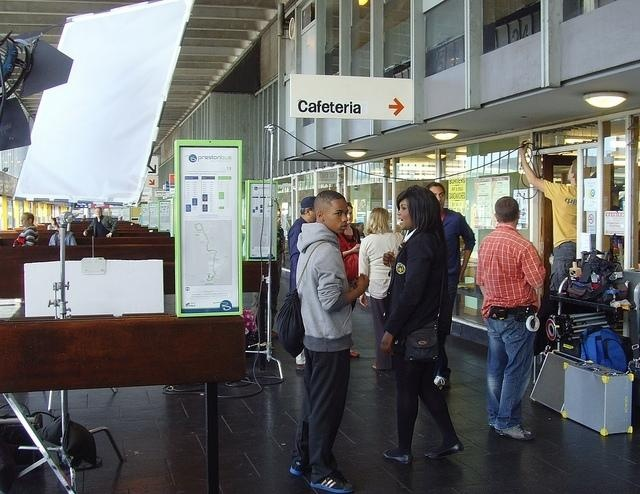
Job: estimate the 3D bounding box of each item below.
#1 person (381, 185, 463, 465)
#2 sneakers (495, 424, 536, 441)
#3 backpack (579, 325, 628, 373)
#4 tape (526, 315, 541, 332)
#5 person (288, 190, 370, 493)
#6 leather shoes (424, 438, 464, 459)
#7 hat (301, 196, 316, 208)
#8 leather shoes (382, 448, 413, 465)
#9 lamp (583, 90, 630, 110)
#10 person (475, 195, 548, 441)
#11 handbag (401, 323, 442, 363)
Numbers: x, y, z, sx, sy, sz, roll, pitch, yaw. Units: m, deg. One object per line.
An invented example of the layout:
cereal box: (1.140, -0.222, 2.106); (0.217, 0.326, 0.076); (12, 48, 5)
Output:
person: (0.722, 0.588, 4.001); (0.514, 2.041, 0.438); (1, 3, 15)
sneakers: (1.611, 1.505, 4.600); (0.260, 0.141, 0.104); (2, 0, 20)
backpack: (2.784, 1.000, 5.507); (0.557, 0.571, 0.332); (5, -2, -30)
tape: (1.701, 0.609, 4.466); (0.041, 0.128, 0.108); (3, -21, -21)
person: (0.029, 0.625, 3.788); (0.484, 2.021, 0.348); (3, 4, 45)
leather shoes: (0.930, 1.525, 4.222); (0.336, 0.132, 0.118); (-21, 9, 33)
hat: (-0.136, -0.479, 5.966); (0.123, 0.074, 0.183); (-11, 14, 15)
leather shoes: (0.575, 1.558, 4.149); (0.194, 0.063, 0.084); (2, 2, 43)
lamp: (2.820, -1.463, 5.496); (0.343, 0.111, 0.319); (-2, 4, -27)
person: (1.568, 0.583, 4.632); (0.540, 1.989, 0.306); (1, 3, 26)
handbag: (0.681, 0.667, 3.909); (0.252, 0.378, 0.195); (-1, -11, 9)
